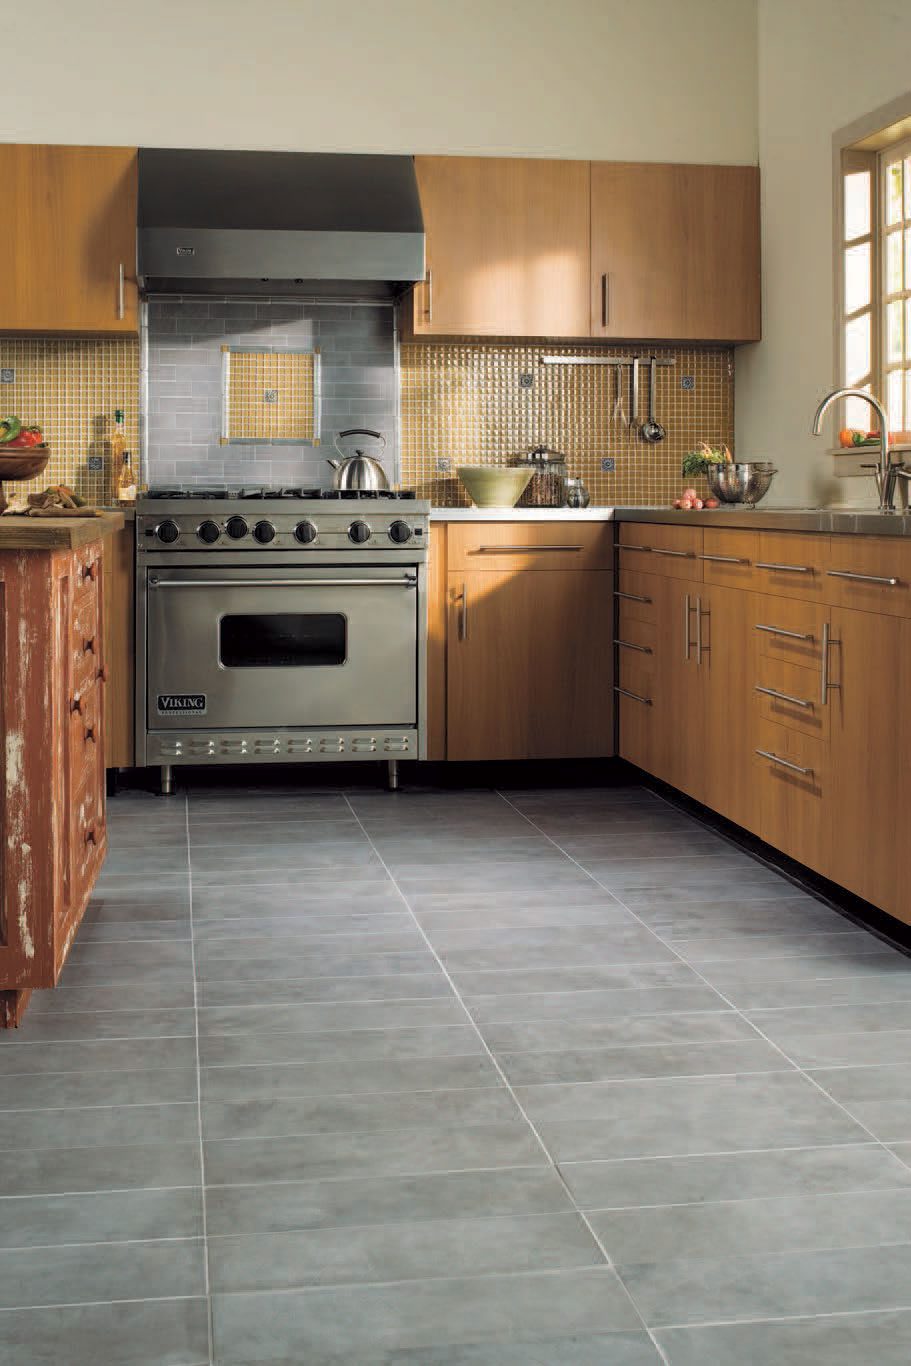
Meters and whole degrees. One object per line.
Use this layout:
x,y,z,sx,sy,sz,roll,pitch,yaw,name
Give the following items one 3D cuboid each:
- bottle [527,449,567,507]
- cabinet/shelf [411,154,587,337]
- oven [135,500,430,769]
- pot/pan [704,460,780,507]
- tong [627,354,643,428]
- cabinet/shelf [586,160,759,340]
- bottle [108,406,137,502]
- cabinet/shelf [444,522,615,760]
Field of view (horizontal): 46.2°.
0.385,-0.861,4.487,0.208,0.233,0.216,1,3,12,bottle
0.149,-1.770,4.284,0.679,0.629,0.247,0,2,-8,cabinet/shelf
-0.682,-0.083,4.169,1.032,1.100,0.763,-1,-16,-6,oven
1.003,-0.697,3.743,0.221,0.097,0.147,-2,1,-39,pot/pan
0.795,-1.285,4.718,0.048,0.284,0.061,0,-1,9,tong
0.868,-1.798,4.396,0.711,0.700,0.281,0,0,-6,cabinet/shelf
-1.371,-0.936,4.368,0.102,0.394,0.145,1,-1,-18,bottle
0.249,-0.347,4.345,0.686,1.003,0.681,-3,29,-1,cabinet/shelf
